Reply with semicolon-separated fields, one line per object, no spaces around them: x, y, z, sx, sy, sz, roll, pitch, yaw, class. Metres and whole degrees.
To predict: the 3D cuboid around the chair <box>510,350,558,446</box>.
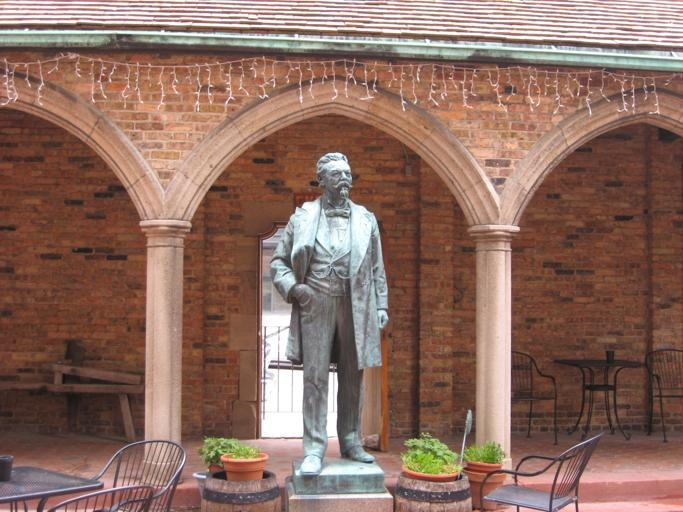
2.402;1.632;14.807;0.573;0.691;0.482;5;0;13;chair

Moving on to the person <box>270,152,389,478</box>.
-0.076;0.533;11.662;1.035;3.011;0.634;-3;-9;4;person
